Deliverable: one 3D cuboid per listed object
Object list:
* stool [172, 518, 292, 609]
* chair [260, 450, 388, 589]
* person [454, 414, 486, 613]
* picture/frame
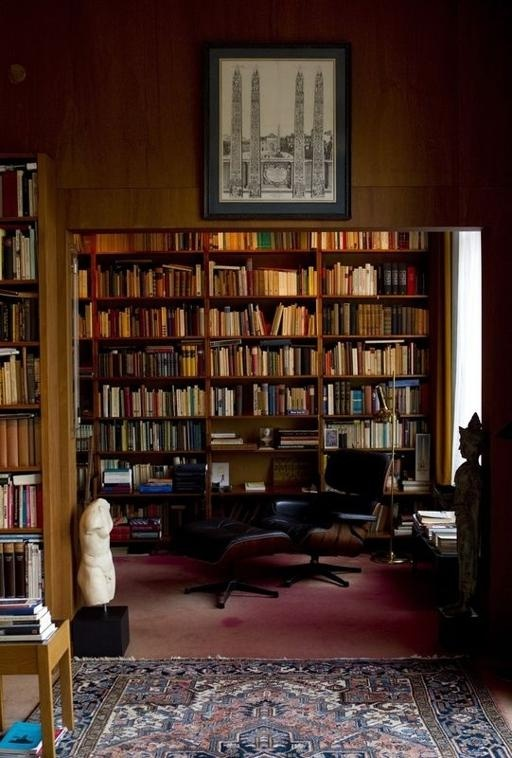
[{"bbox_3d":[-0.159,1.157,4.170,0.513,0.488,0.744,1,-3,-25],"label":"stool"},{"bbox_3d":[0.464,0.949,4.588,0.698,0.949,0.783,6,-3,-15],"label":"chair"},{"bbox_3d":[1.066,0.672,3.320,0.148,1.000,0.234,-1,-2,19],"label":"person"},{"bbox_3d":[0.099,-1.315,3.331,0.780,1.070,0.082,-1,4,-3],"label":"picture/frame"}]
